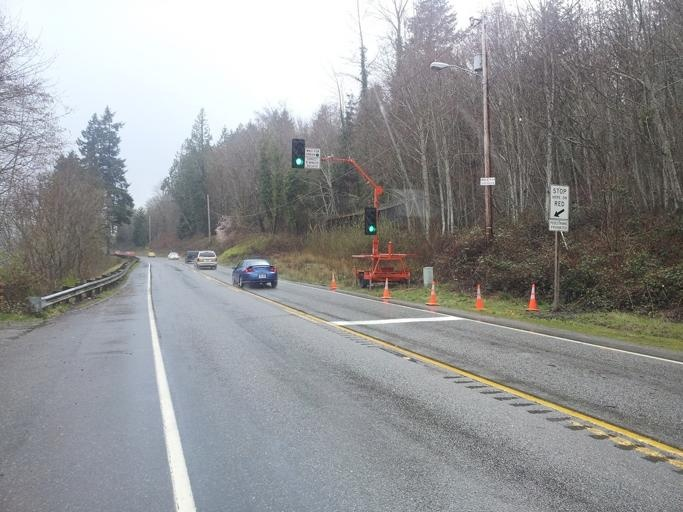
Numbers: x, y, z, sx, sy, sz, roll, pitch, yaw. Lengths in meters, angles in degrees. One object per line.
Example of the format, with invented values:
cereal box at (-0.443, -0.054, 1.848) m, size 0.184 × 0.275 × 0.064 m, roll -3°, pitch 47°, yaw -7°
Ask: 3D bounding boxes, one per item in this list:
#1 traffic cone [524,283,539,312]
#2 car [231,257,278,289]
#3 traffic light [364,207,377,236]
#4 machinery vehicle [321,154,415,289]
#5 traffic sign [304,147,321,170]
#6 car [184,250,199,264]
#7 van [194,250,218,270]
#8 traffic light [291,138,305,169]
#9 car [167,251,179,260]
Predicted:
traffic cone at (6.265, 1.361, 20.363) m, size 0.615 × 1.002 × 0.677 m, roll 0°, pitch -5°, yaw 1°
car at (-4.372, 0.856, 30.545) m, size 1.079 × 0.976 × 2.491 m, roll 0°, pitch 5°, yaw -21°
traffic light at (1.373, -1.613, 28.093) m, size 0.554 × 1.119 × 0.360 m, roll -2°, pitch 8°, yaw -14°
machinery vehicle at (1.149, -1.497, 29.303) m, size 4.482 × 5.913 × 1.968 m, roll 2°, pitch -3°, yaw 4°
traffic sign at (-1.291, -4.318, 27.533) m, size 0.593 × 0.806 × 1.397 m, roll 5°, pitch 11°, yaw 35°
car at (-17.484, 0.098, 72.785) m, size 1.210 × 1.250 × 2.300 m, roll 1°, pitch 4°, yaw -5°
van at (-11.417, 0.272, 52.492) m, size 1.138 × 1.247 × 2.209 m, roll -2°, pitch 9°, yaw -22°
traffic light at (-1.809, -4.385, 26.561) m, size 0.555 × 1.204 × 1.119 m, roll -1°, pitch 8°, yaw -4°
car at (-22.524, -0.007, 83.929) m, size 1.198 × 0.730 × 2.096 m, roll 1°, pitch -1°, yaw -29°
